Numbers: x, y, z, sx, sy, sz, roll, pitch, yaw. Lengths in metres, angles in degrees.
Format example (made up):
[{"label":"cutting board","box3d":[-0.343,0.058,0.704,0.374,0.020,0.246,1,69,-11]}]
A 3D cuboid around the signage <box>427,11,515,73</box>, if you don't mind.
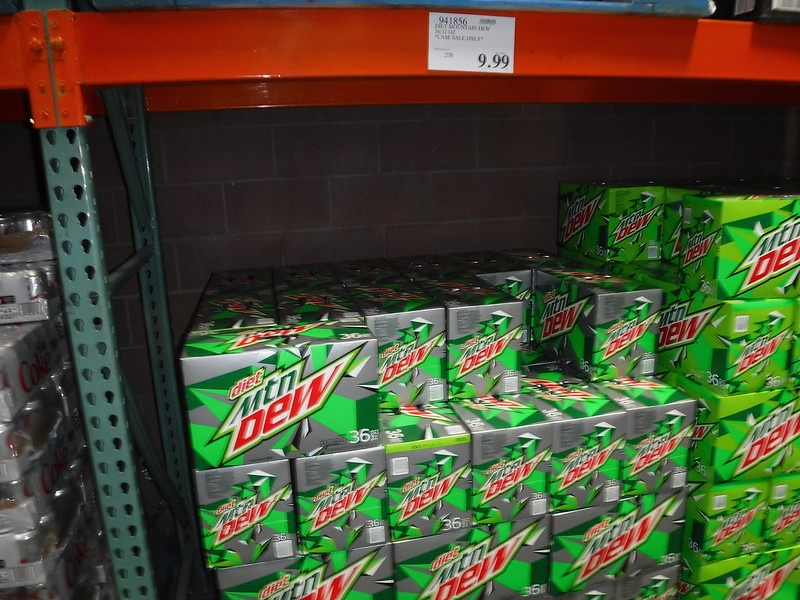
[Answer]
[{"label":"signage","box3d":[0.143,-0.507,1.274,0.213,0.113,0.007,24,46,39]}]
